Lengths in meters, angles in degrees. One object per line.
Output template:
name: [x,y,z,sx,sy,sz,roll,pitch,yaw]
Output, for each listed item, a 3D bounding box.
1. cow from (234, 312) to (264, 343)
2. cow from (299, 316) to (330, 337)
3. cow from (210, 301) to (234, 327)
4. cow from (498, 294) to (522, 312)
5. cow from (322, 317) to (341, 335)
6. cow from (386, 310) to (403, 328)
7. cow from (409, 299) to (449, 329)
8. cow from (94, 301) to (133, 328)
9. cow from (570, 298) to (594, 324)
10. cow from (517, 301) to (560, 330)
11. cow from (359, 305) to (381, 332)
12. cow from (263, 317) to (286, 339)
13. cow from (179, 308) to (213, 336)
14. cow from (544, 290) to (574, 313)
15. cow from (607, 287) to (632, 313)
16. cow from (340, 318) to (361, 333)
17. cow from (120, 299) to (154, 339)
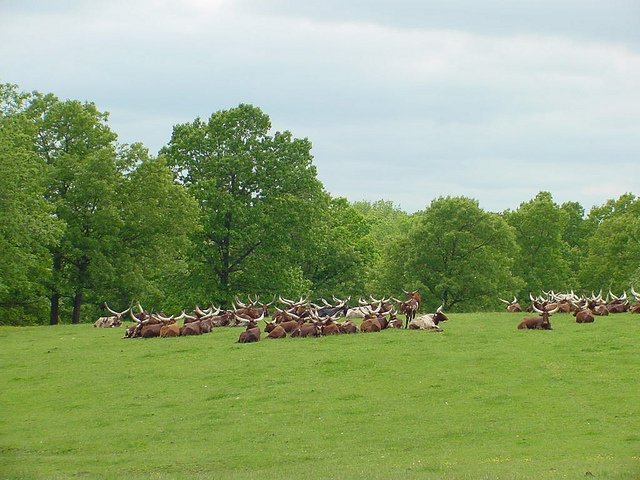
cow: [-4.117,4.875,73.164,2.002,1.394,2.035,1,21,21]
cow: [-0.462,5.152,74.514,1.621,0.918,0.748,1,-4,-9]
cow: [-6.304,4.905,79.974,1.538,1.159,0.712,-7,6,-22]
cow: [13.242,4.437,88.386,1.098,1.254,1.735,2,1,-5]
cow: [0.567,5.084,74.730,1.171,1.444,0.736,-8,-24,18]
cow: [4.401,4.777,76.909,0.949,0.908,1.003,1,-4,2]
cow: [6.331,4.645,76.260,2.789,1.671,0.910,-9,0,-37]
cow: [-13.405,4.766,80.301,1.735,1.166,1.964,6,-12,-45]
cow: [16.264,4.430,79.486,1.946,1.585,0.792,14,-20,-29]
cow: [12.762,4.766,75.396,1.460,1.204,2.094,9,-26,-41]
cow: [2.922,4.865,75.702,1.224,1.081,1.466,1,-4,2]
cow: [-2.713,5.229,75.078,1.245,0.909,2.479,1,-4,-3]
cow: [-7.660,5.033,75.508,1.251,0.926,1.526,-5,-1,44]
cow: [15.693,4.021,82.957,1.500,1.069,1.779,-6,6,40]
cow: [20.990,4.208,89.659,1.916,1.476,1.484,-6,3,-27]
cow: [1.727,5.087,75.398,1.219,0.665,1.090,1,-4,1]
cow: [-10.893,4.923,75.290,2.211,1.525,1.609,-8,-7,23]
